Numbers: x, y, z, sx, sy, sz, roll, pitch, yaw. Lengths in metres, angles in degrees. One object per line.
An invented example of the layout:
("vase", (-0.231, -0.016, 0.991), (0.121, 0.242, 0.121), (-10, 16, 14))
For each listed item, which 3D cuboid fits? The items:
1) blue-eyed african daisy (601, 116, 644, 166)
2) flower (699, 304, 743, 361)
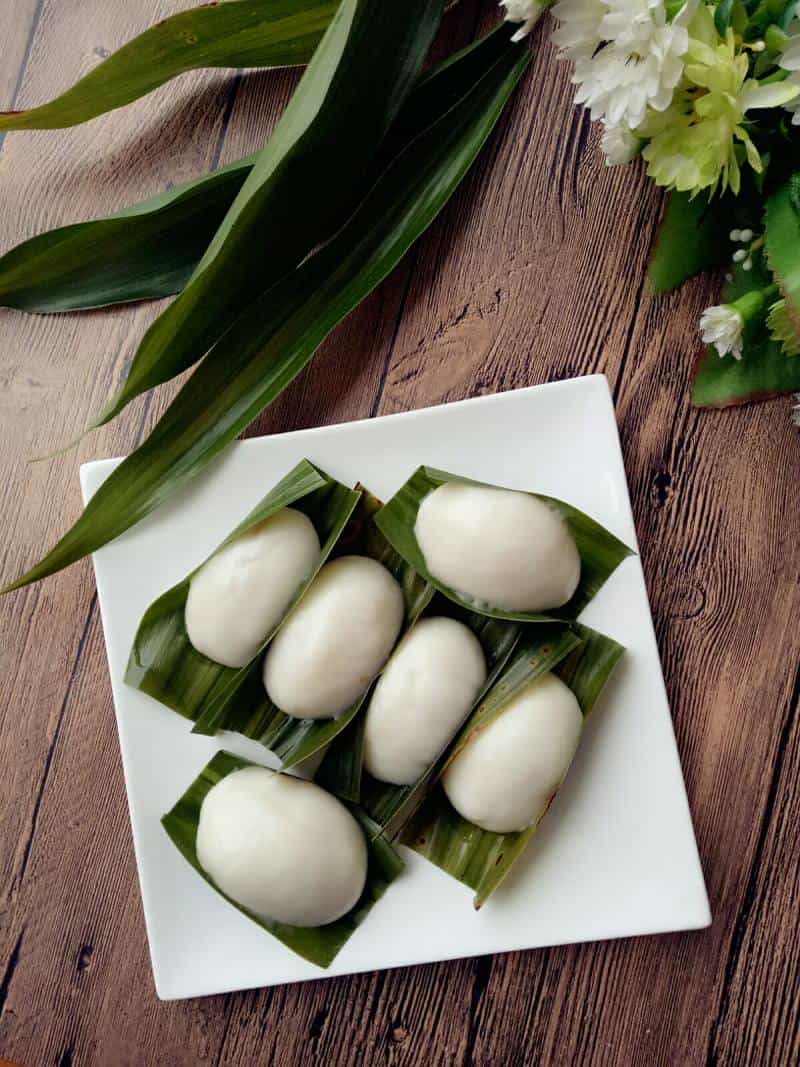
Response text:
("blue-eyed african daisy", (0.149, -0.264, 0.689), (0.019, 0.028, 0.030), (-13, 76, -39))
("flower", (0.231, -0.141, 0.722), (0.027, 0.047, 0.027), (4, 62, 19))
